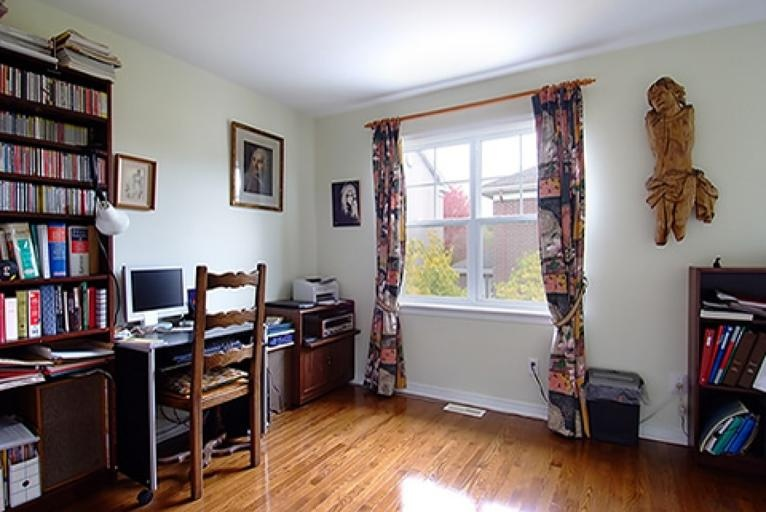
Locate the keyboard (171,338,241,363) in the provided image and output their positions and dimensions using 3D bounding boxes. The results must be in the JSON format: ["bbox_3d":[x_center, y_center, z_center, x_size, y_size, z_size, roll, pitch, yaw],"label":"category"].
[{"bbox_3d":[-1.303,0.712,4.113,0.229,0.077,0.286,0,2,31],"label":"keyboard"}]

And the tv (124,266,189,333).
[{"bbox_3d":[-1.779,0.340,4.206,0.172,0.483,0.483,-7,-5,41],"label":"tv"}]

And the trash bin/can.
[{"bbox_3d":[1.895,1.195,4.414,0.428,0.562,0.477,-10,7,-41],"label":"trash bin/can"}]

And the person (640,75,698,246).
[{"bbox_3d":[2.232,-0.734,4.211,0.339,1.292,0.178,-1,4,23],"label":"person"}]

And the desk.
[{"bbox_3d":[-1.411,1.139,3.946,0.662,1.135,1.236,0,-1,31],"label":"desk"}]

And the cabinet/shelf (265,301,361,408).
[{"bbox_3d":[-0.652,0.892,5.253,0.499,0.896,0.949,2,2,27],"label":"cabinet/shelf"}]

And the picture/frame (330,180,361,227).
[{"bbox_3d":[-0.364,-0.542,5.479,0.476,0.642,0.055,0,0,31],"label":"picture/frame"}]

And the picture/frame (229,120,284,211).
[{"bbox_3d":[-1.194,-0.848,5.032,0.055,0.996,0.875,-3,-4,34],"label":"picture/frame"}]
